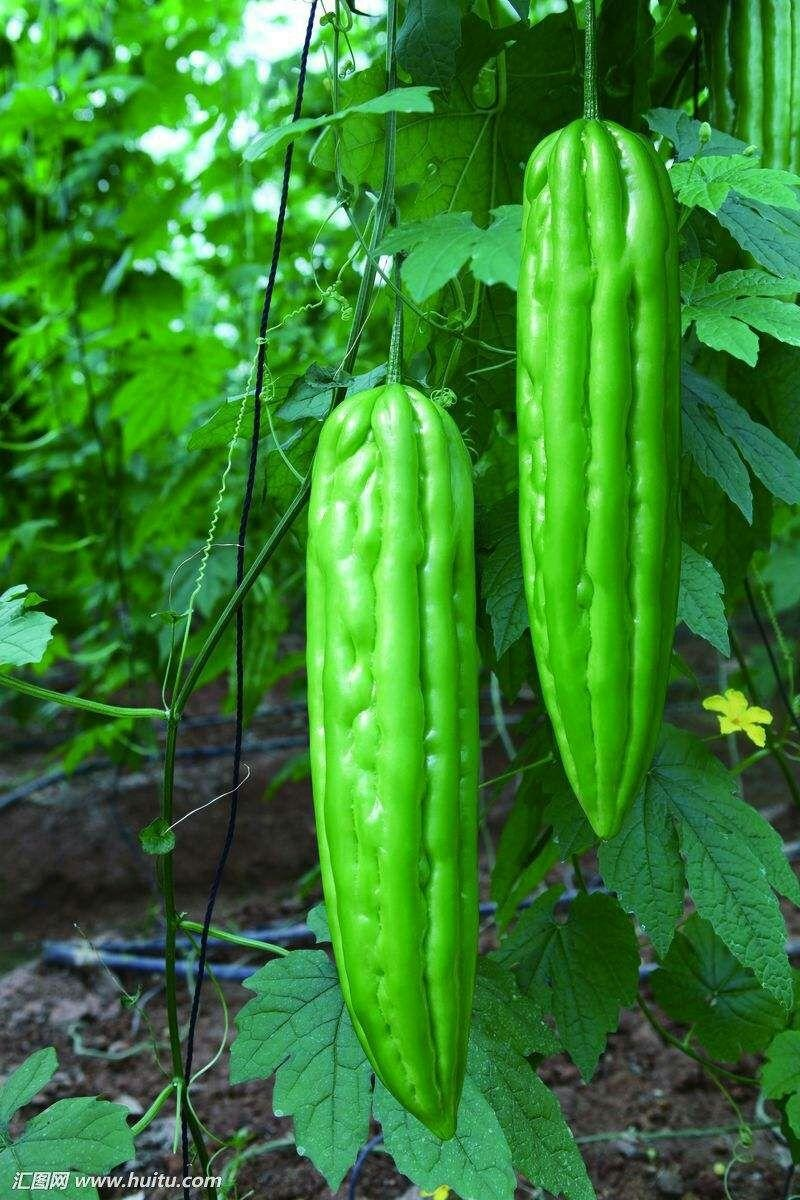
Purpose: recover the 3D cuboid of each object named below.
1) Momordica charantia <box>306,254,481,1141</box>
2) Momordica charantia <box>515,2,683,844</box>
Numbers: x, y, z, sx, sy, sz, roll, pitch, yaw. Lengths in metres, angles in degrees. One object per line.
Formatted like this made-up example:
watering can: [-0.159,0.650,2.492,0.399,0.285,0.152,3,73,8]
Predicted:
Momordica charantia: [-0.008,0.088,1.073,0.147,0.700,0.271,-1,12,2]
Momordica charantia: [0.166,-0.106,1.026,0.135,0.596,0.149,0,12,5]
